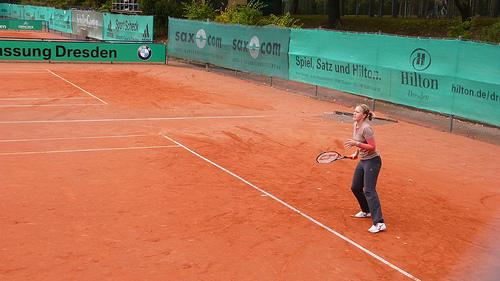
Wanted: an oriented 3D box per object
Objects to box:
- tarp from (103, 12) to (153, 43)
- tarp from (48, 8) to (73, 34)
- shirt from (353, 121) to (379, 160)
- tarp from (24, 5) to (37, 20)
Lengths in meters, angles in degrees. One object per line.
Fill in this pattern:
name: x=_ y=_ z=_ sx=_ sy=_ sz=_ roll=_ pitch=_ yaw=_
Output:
tarp: x=-11.976 y=-10.643 z=35.997 sx=8.498 sy=2.674 sz=0.146 roll=18 pitch=24 yaw=36
tarp: x=-25.185 y=-15.837 z=49.874 sx=1.001 sy=3.068 sz=10.039 roll=-10 pitch=20 yaw=-35
shirt: x=3.060 y=0.021 z=10.094 sx=0.732 sy=1.010 sz=0.450 roll=11 pitch=20 yaw=26
tarp: x=-36.170 y=-20.916 z=61.741 sx=0.992 sy=2.173 sz=8.054 roll=-10 pitch=20 yaw=-35
